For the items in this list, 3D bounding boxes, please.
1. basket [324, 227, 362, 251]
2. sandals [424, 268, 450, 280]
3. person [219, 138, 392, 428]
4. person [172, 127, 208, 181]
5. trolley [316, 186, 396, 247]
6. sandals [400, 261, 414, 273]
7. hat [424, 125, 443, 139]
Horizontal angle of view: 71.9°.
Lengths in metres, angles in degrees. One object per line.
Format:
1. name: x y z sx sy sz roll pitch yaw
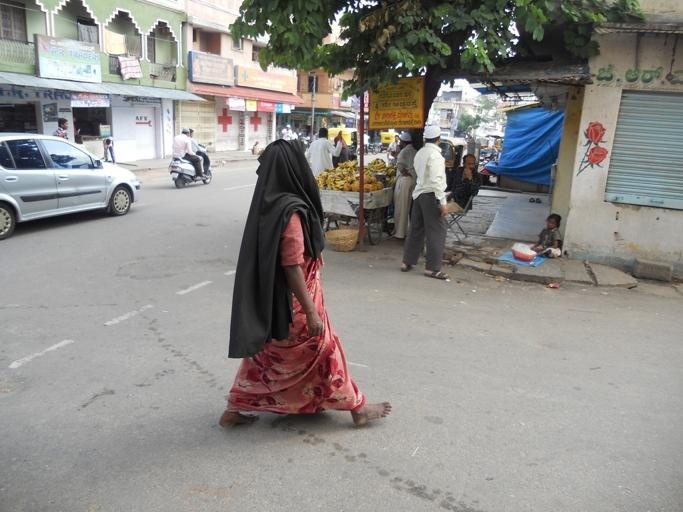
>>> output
1. basket: -0.031 -0.332 8.682 0.484 0.278 0.467 8 15 41
2. sandals: 1.487 0.265 7.320 0.292 0.102 0.164 2 11 6
3. person: -0.365 0.261 3.338 1.030 2.119 0.474 -3 14 -16
4. person: -4.794 -3.090 14.852 0.618 1.780 1.415 5 14 17
5. trolley: 0.326 -0.786 9.218 1.036 0.803 1.285 3 18 12
6. sandals: 1.044 0.179 7.613 0.103 0.100 0.257 8 15 22
7. hat: 1.407 -1.920 7.296 0.243 0.224 0.334 4 13 10
